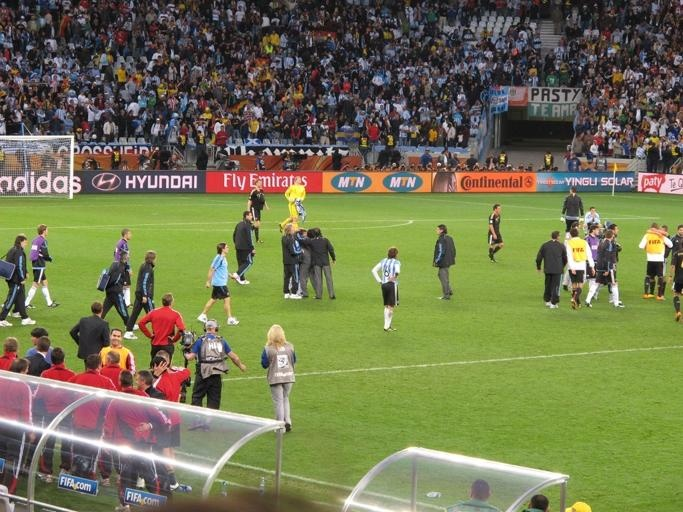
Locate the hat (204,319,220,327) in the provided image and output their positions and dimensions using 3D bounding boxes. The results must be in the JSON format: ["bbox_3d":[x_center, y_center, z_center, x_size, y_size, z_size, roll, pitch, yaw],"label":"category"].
[{"bbox_3d":[-2.684,1.366,22.666,0.223,0.208,0.238,0,-28,-7],"label":"hat"}]

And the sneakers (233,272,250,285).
[{"bbox_3d":[-3.042,0.677,32.822,0.632,0.265,0.207,30,12,-42],"label":"sneakers"}]

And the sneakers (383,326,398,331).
[{"bbox_3d":[1.245,1.891,28.878,0.349,0.141,0.110,-4,9,-21],"label":"sneakers"}]

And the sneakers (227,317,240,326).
[{"bbox_3d":[-2.933,1.689,29.074,0.407,0.264,0.134,-4,16,-15],"label":"sneakers"}]

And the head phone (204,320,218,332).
[{"bbox_3d":[-2.702,1.437,22.732,0.243,0.305,0.435,0,8,-9],"label":"head phone"}]
